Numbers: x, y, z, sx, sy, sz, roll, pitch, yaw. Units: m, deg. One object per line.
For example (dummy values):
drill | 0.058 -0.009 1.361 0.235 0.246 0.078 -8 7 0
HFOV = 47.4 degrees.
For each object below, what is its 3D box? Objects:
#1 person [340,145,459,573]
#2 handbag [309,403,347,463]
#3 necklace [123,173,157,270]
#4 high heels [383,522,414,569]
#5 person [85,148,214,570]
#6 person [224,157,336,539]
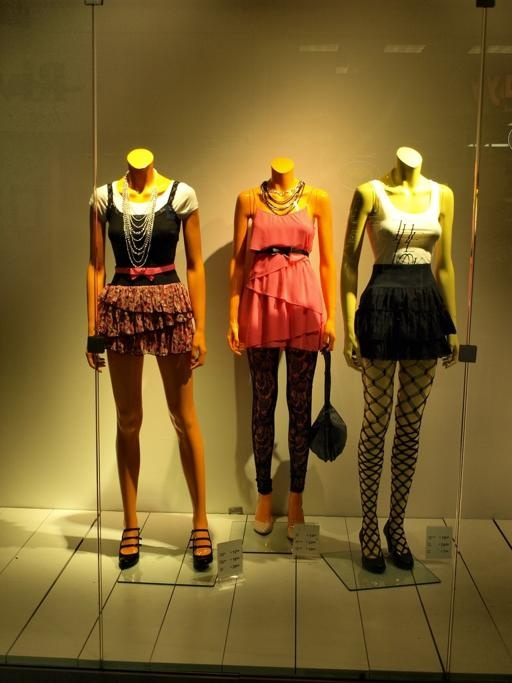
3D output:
person | 0.427 0.079 1.760 0.341 1.267 0.177 2 13 9
handbag | 0.235 0.287 1.869 0.116 0.321 0.046 3 10 19
necklace | -0.357 -0.362 1.805 0.106 0.252 0.054 -4 14 -14
high heels | 0.445 0.667 1.844 0.045 0.179 0.063 -10 -17 -6
person | -0.347 0.066 1.827 0.388 1.281 0.311 -3 13 -8
person | 0.081 0.026 1.889 0.349 1.187 0.218 0 13 4
